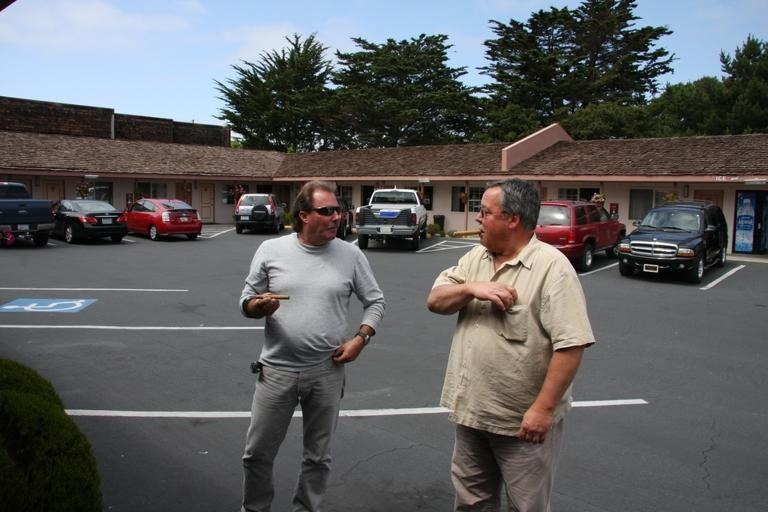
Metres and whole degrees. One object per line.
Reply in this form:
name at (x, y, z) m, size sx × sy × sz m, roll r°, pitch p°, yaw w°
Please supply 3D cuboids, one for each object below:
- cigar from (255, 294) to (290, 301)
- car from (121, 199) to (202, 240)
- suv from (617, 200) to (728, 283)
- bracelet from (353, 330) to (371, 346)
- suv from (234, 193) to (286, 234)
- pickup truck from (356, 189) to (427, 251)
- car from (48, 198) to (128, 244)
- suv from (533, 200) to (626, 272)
cigar at (-0.817, 0.300, 4.063) m, size 0.204 × 0.036 × 0.039 m, roll 5°, pitch 9°, yaw -2°
car at (-9.566, -1.583, 24.019) m, size 2.974 × 1.665 × 1.461 m, roll 5°, pitch 7°, yaw 32°
suv at (8.745, -0.501, 16.408) m, size 1.930 × 1.444 × 3.699 m, roll 0°, pitch 2°, yaw 36°
bracelet at (-0.156, 0.665, 4.452) m, size 0.171 × 0.064 × 0.157 m, roll 17°, pitch -22°, yaw 22°
suv at (-6.134, -2.256, 28.025) m, size 1.519 × 1.210 × 2.905 m, roll 0°, pitch 10°, yaw 0°
pickup truck at (0.453, -1.661, 22.351) m, size 1.861 × 1.438 × 3.416 m, roll 2°, pitch 11°, yaw 7°
car at (-11.698, -1.363, 21.895) m, size 2.659 × 1.662 × 1.472 m, roll 4°, pitch 6°, yaw 23°
suv at (6.140, -0.836, 18.366) m, size 2.479 × 2.123 × 5.116 m, roll 5°, pitch 13°, yaw 35°
